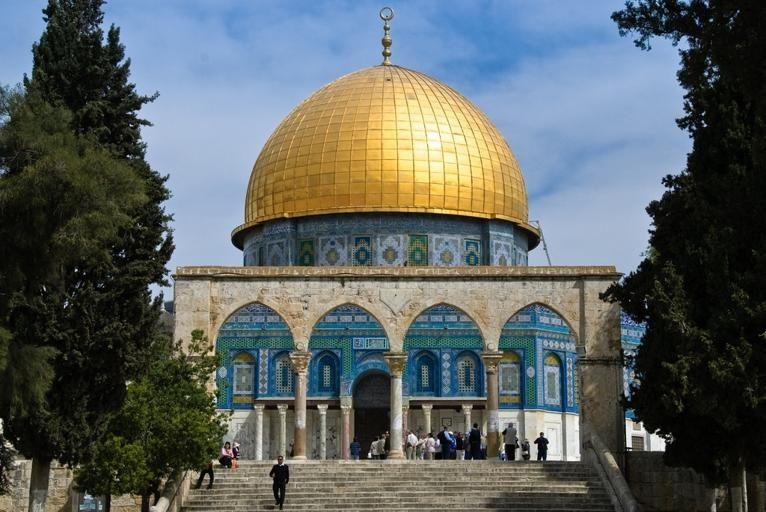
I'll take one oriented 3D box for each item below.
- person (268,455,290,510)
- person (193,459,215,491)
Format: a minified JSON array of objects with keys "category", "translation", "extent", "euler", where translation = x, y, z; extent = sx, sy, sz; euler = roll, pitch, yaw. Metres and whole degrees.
[{"category":"person","translation":[-2.346,4.987,31.378],"extent":[0.427,1.114,1.072],"euler":[1,5,-5]},{"category":"person","translation":[-4.113,4.954,32.370],"extent":[0.446,0.827,1.415],"euler":[1,5,-8]}]
